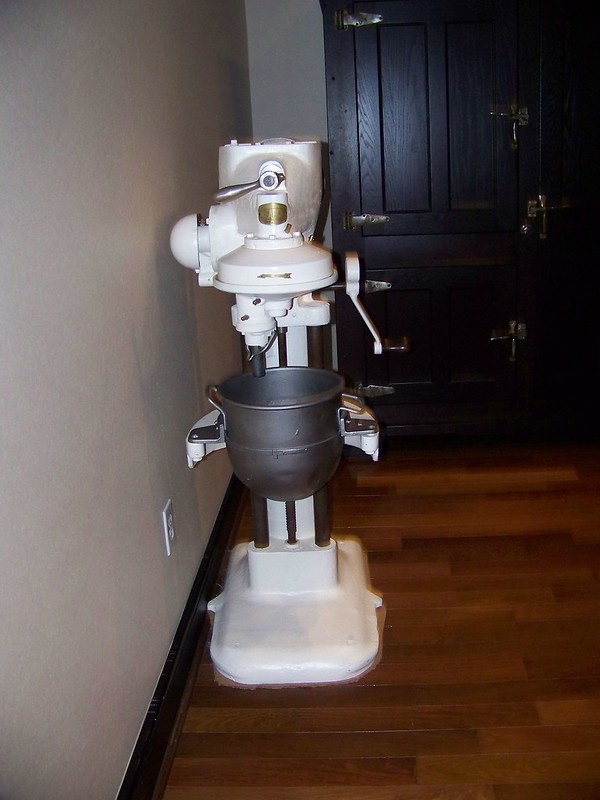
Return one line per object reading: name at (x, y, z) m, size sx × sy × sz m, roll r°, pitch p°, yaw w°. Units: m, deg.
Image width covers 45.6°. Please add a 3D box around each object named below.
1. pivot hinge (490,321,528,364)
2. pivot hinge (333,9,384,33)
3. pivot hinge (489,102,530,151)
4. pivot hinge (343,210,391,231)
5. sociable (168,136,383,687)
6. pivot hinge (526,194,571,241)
pivot hinge at (0.901, -0.259, 3.065) m, size 0.213 × 0.239 × 0.047 m, roll -1°, pitch 40°, yaw 8°
pivot hinge at (0.226, -1.472, 2.747) m, size 0.189 × 0.069 × 0.039 m, roll 2°, pitch 10°, yaw 4°
pivot hinge at (0.835, -1.092, 2.842) m, size 0.147 × 0.168 × 0.028 m, roll 2°, pitch 20°, yaw 14°
pivot hinge at (0.271, -0.739, 2.959) m, size 0.199 × 0.067 × 0.067 m, roll -2°, pitch -5°, yaw 13°
sociable at (-0.047, 0.038, 1.609) m, size 0.479 × 1.186 × 0.542 m, roll -2°, pitch 20°, yaw 6°
pivot hinge at (1.003, -0.751, 2.908) m, size 0.191 × 0.180 × 0.024 m, roll -4°, pitch 20°, yaw -2°
